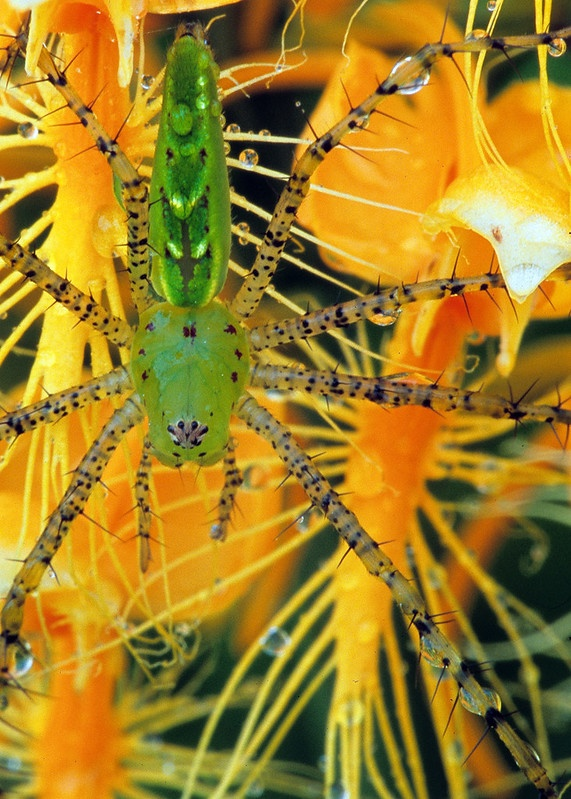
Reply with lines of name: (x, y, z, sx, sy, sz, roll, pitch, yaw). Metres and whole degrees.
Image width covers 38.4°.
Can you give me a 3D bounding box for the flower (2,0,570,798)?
flower: (-0.044, 0.003, 1.447, 1.018, 0.969, 0.216, 4, -5, 6)
